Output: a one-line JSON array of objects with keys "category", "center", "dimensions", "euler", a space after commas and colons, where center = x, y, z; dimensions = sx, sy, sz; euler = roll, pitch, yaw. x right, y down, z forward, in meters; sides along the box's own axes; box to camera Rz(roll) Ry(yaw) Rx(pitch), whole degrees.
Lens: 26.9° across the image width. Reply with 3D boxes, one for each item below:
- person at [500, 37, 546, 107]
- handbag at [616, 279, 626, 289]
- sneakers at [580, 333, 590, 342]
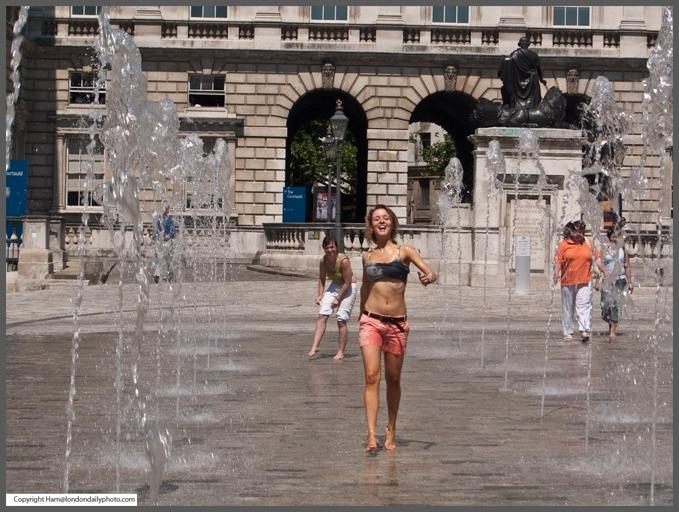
[{"category": "person", "center": [5.374, -5.381, 41.529], "dimensions": [1.210, 2.431, 0.734], "euler": [1, 35, 6]}, {"category": "handbag", "center": [5.872, 0.567, 29.769], "dimensions": [0.185, 0.209, 0.108], "euler": [-2, -2, -21]}, {"category": "sneakers", "center": [4.986, 1.604, 28.866], "dimensions": [0.150, 0.252, 0.344], "euler": [1, 12, 7]}]
